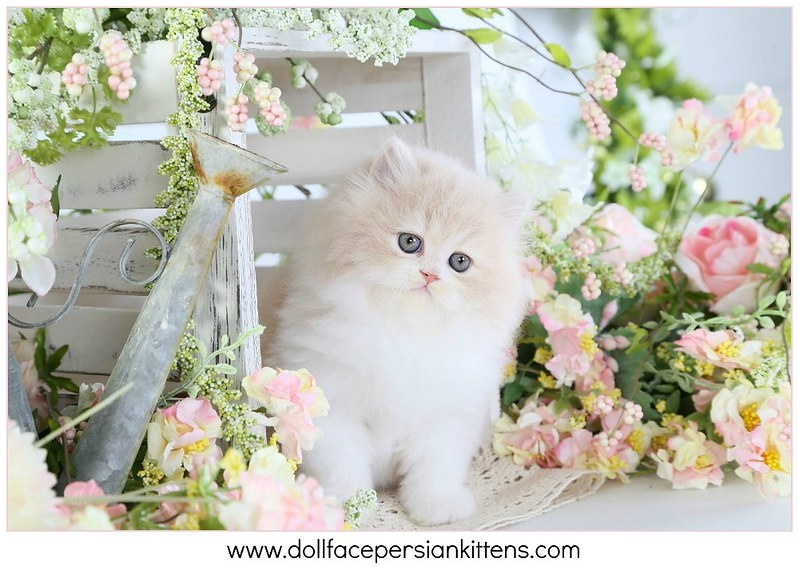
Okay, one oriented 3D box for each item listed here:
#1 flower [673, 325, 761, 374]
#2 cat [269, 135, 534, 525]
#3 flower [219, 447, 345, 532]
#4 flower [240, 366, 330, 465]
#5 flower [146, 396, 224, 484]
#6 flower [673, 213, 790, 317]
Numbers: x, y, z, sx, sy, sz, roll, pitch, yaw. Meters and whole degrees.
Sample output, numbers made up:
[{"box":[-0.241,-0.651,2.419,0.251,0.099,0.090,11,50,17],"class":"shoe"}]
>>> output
[{"box":[0.557,0.117,1.263,0.139,0.088,0.066,15,40,1],"class":"flower"},{"box":[-0.024,0.104,1.508,0.490,0.628,0.661,13,-5,-16],"class":"cat"},{"box":[-0.161,0.306,0.999,0.143,0.067,0.138,17,36,-22],"class":"flower"},{"box":[-0.178,0.195,1.153,0.153,0.077,0.152,35,16,-4],"class":"flower"},{"box":[-0.350,0.251,1.160,0.114,0.117,0.097,8,40,-8],"class":"flower"},{"box":[0.626,-0.050,1.415,0.138,0.176,0.180,22,16,-50],"class":"flower"}]
